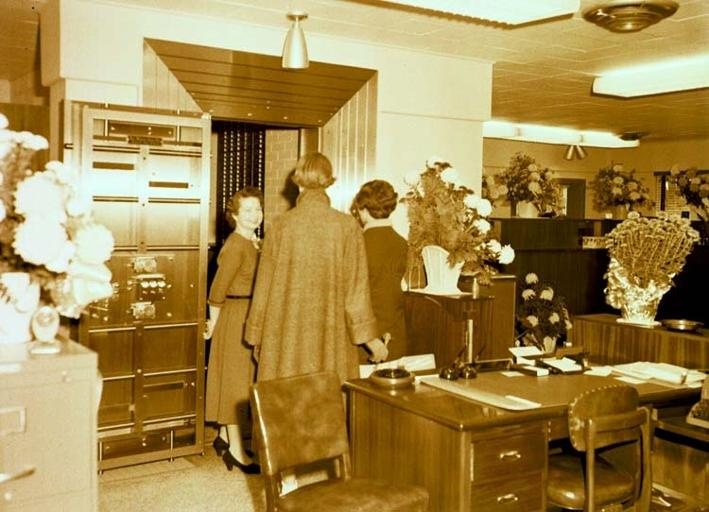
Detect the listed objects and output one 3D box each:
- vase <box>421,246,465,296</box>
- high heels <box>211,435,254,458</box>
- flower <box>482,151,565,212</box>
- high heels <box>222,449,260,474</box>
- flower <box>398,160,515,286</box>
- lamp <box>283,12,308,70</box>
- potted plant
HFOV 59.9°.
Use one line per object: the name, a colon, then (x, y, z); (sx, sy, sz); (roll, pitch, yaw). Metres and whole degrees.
vase: (0.710, 0.103, 4.998); (0.332, 0.382, 0.372); (-1, 1, 3)
high heels: (-0.977, 1.595, 5.224); (0.448, 0.227, 0.158); (1, -6, 3)
flower: (2.475, -1.088, 9.537); (0.934, 1.255, 1.195); (6, -1, -13)
high heels: (-0.917, 1.622, 4.941); (0.368, 0.192, 0.131); (4, -4, 10)
flower: (0.865, -0.142, 5.212); (0.744, 0.959, 0.740); (16, -7, 24)
lamp: (-0.488, -1.762, 5.056); (0.203, 0.464, 0.195); (2, 2, 2)
potted plant: (2.522, 0.075, 5.349); (0.790, 1.010, 0.698); (-13, 20, -40)
